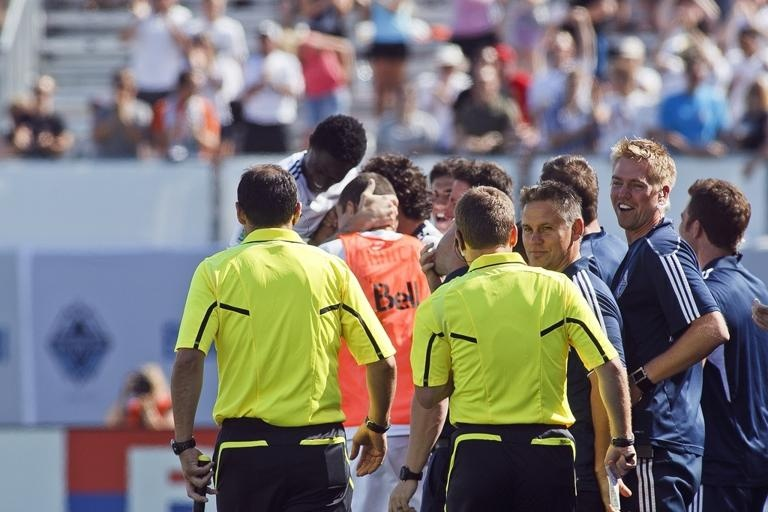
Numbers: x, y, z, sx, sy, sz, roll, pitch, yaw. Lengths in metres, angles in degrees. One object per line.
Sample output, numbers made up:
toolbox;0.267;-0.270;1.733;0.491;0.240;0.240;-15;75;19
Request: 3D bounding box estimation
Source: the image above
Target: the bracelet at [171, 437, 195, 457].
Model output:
bracelet;-1.507;1.441;12.723;0.149;0.081;0.117;-5;-20;-14
